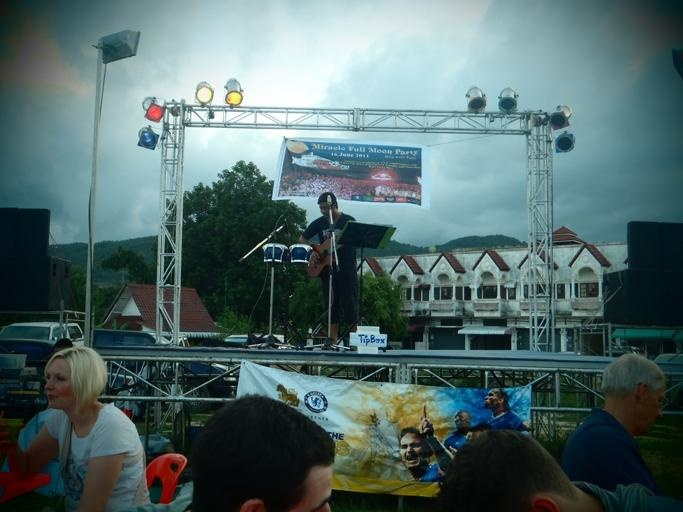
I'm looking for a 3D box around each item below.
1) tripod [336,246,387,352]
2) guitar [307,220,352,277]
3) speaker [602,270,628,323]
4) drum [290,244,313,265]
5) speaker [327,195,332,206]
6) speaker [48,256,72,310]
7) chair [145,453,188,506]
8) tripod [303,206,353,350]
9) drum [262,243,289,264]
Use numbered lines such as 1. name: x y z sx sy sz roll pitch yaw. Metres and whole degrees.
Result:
1. tripod: 0.399 0.777 19.773 0.687 2.571 0.740 3 -2 -43
2. guitar: -0.067 -0.235 19.054 0.172 0.690 1.276 7 -16 -32
3. speaker: 6.435 0.997 22.958 0.322 1.226 0.956 3 -4 -14
4. drum: -0.803 -0.029 19.194 0.340 0.289 0.365 1 -14 0
5. speaker: -0.224 -1.043 18.856 0.093 0.184 0.074 -1 4 -2
6. speaker: -5.642 0.534 19.529 0.326 0.893 0.967 1 -6 -8
7. chair: -2.474 3.125 14.175 0.566 0.781 0.668 4 1 25
8. tripod: -0.135 0.321 19.296 0.792 3.217 0.792 0 -1 20
9. drum: -1.341 -0.034 20.023 0.458 0.425 0.405 2 -4 -5
